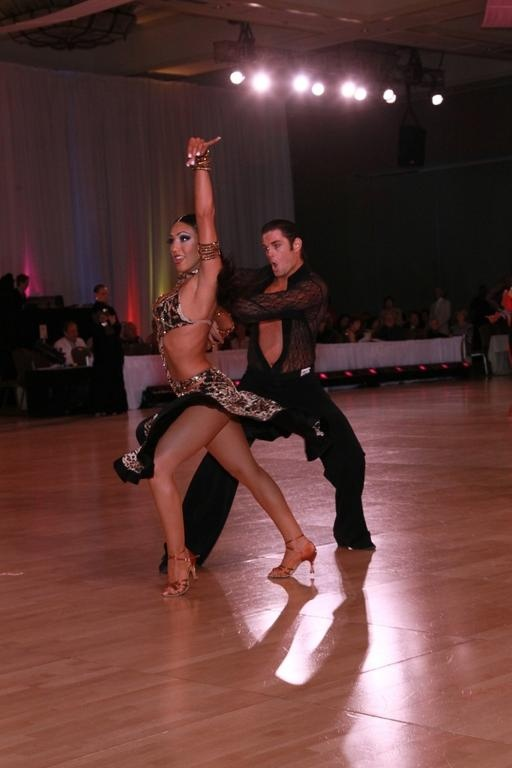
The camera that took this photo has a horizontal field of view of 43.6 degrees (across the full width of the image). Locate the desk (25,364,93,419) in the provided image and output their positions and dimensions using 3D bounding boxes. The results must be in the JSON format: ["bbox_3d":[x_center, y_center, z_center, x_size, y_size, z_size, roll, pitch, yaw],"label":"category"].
[{"bbox_3d":[-3.593,0.179,10.959,0.751,0.868,1.394,1,2,34],"label":"desk"}]

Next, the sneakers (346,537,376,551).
[{"bbox_3d":[0.521,0.782,3.150,0.157,0.059,0.052,2,-3,16],"label":"sneakers"}]

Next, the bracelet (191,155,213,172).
[{"bbox_3d":[-0.233,-0.867,2.515,0.109,0.038,0.081,-6,3,17],"label":"bracelet"}]

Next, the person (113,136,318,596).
[{"bbox_3d":[-0.196,-0.078,2.671,0.494,1.829,0.711,-7,-6,44],"label":"person"}]

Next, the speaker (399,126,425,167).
[{"bbox_3d":[3.937,-6.006,16.226,0.674,0.951,0.487,-3,-4,3],"label":"speaker"}]
